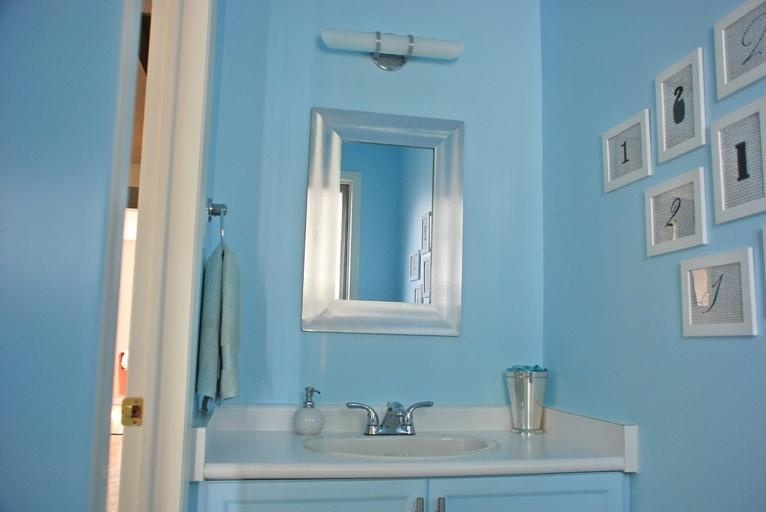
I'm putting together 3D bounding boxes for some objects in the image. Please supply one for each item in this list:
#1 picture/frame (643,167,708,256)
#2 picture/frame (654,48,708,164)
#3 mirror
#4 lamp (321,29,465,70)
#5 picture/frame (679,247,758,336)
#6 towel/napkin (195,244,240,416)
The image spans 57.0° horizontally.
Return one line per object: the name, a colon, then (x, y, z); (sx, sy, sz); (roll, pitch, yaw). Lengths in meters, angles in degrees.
picture/frame: (0.953, -0.144, 2.289); (0.031, 0.351, 0.248); (5, -8, -23)
picture/frame: (0.964, -0.490, 2.304); (0.034, 0.334, 0.186); (5, -7, -21)
mirror: (0.008, -0.140, 2.871); (0.641, 0.951, 0.066); (3, -15, -5)
lamp: (0.033, -0.844, 2.877); (0.551, 0.168, 0.225); (3, 20, -15)
picture/frame: (1.020, 0.108, 2.138); (0.025, 0.348, 0.233); (6, -7, -32)
towel/napkin: (-0.562, 0.228, 2.413); (0.135, 0.535, 0.165); (1, 3, -39)
